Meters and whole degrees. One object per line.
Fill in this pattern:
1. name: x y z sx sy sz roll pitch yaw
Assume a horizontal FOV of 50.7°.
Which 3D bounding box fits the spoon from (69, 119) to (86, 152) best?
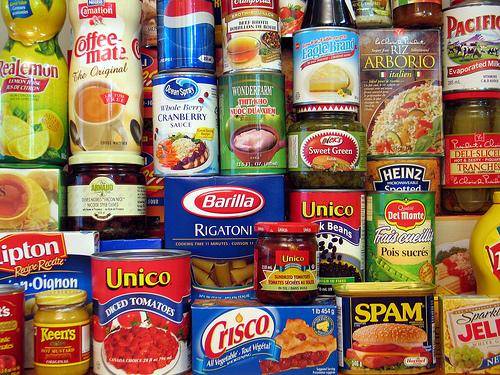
1. spoon: -0.618 -0.173 1.854 0.035 0.169 0.030 -34 -25 28
